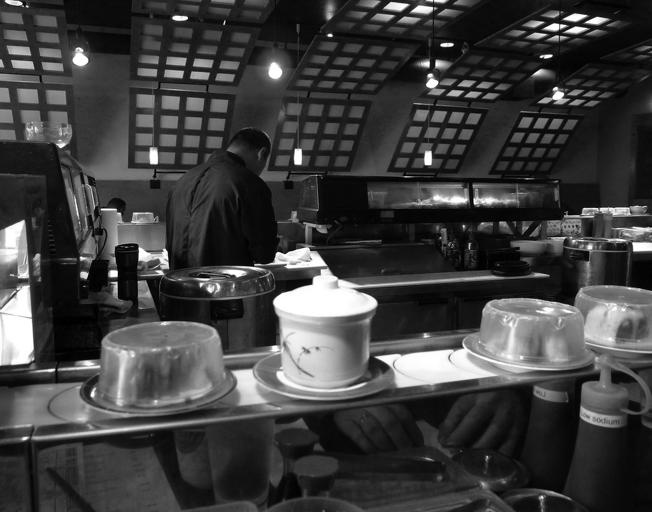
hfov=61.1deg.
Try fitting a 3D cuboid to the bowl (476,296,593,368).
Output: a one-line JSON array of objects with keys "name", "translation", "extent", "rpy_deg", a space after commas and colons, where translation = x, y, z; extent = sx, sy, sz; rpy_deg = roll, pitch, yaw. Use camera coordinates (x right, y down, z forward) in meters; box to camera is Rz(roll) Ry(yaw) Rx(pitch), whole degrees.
[{"name": "bowl", "translation": [0.400, 0.121, 1.071], "extent": [0.136, 0.057, 0.142], "rpy_deg": [-1, 10, 0]}]

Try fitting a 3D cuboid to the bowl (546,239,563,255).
[{"name": "bowl", "translation": [1.853, -0.074, 4.485], "extent": [0.111, 0.113, 0.158], "rpy_deg": [0, -1, 2]}]

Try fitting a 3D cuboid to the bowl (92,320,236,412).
[{"name": "bowl", "translation": [-0.295, 0.190, 1.006], "extent": [0.243, 0.104, 0.254], "rpy_deg": [0, 6, 0]}]

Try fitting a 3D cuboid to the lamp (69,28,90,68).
[{"name": "lamp", "translation": [-2.246, -1.926, 5.027], "extent": [0.133, 0.357, 0.136], "rpy_deg": [-1, -19, -29]}]

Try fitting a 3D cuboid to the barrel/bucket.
[{"name": "barrel/bucket", "translation": [1.020, 0.012, 2.148], "extent": [0.284, 0.262, 0.259], "rpy_deg": [2, 5, 0]}]

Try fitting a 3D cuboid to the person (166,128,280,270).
[{"name": "person", "translation": [-0.634, -0.332, 3.312], "extent": [0.661, 0.859, 0.525], "rpy_deg": [-4, 10, -13]}]

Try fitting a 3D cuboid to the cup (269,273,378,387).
[{"name": "cup", "translation": [-0.001, 0.118, 1.044], "extent": [0.180, 0.187, 0.186], "rpy_deg": [-1, 7, 0]}]

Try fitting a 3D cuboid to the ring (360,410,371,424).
[{"name": "ring", "translation": [0.072, 0.292, 0.999], "extent": [0.016, 0.024, 0.022], "rpy_deg": [0, -4, 5]}]

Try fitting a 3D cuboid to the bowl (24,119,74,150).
[{"name": "bowl", "translation": [-1.163, -0.510, 2.321], "extent": [0.166, 0.111, 0.221], "rpy_deg": [-8, 12, -32]}]

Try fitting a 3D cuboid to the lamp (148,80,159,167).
[{"name": "lamp", "translation": [-2.054, -1.496, 6.582], "extent": [0.151, 0.898, 0.659], "rpy_deg": [-4, 10, -17]}]
